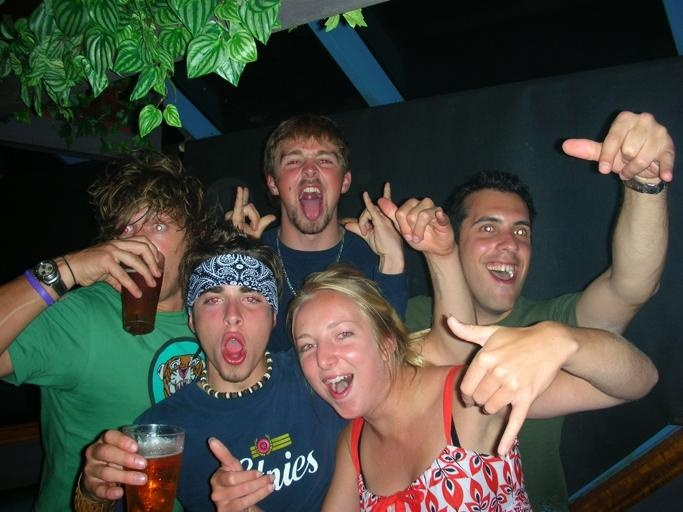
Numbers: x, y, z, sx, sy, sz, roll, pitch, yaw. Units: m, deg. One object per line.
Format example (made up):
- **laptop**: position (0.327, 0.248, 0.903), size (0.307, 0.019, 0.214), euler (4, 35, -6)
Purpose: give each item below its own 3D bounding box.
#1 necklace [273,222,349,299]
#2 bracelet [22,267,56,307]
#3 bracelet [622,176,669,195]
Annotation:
- **necklace**: position (-0.231, 0.118, 4.187), size (0.420, 0.396, 0.096), euler (27, 40, -11)
- **bracelet**: position (-1.578, 0.163, 3.052), size (0.166, 0.192, 0.051), euler (2, 14, 26)
- **bracelet**: position (1.625, -0.370, 3.160), size (0.223, 0.092, 0.096), euler (-2, 12, 7)
